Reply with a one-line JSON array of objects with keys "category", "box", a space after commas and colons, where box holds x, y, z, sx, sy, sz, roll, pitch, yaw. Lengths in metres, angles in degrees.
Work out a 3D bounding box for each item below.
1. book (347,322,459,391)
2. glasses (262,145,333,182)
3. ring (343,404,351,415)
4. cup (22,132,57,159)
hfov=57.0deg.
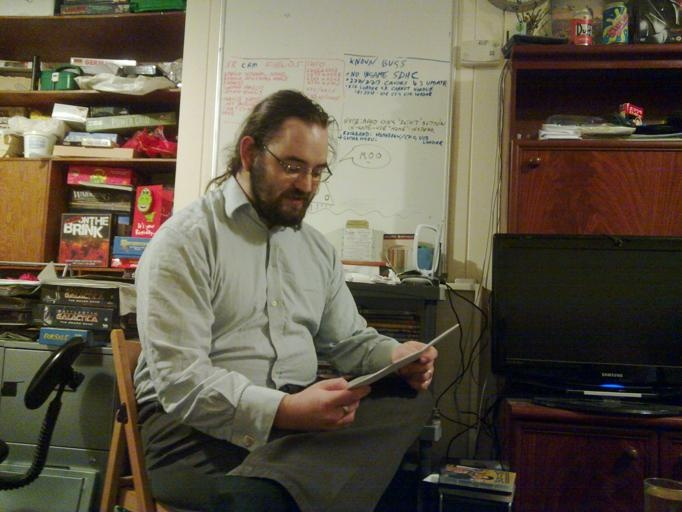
[{"category": "book", "box": [0.231, 0.356, 2.006, 0.392, 0.081, 0.200, -23, -11, -20]}, {"category": "glasses", "box": [-0.156, -0.336, 2.211, 0.230, 0.070, 0.232, 10, -15, 14]}, {"category": "ring", "box": [0.017, 0.476, 1.957, 0.023, 0.024, 0.024, -2, 14, 0]}, {"category": "cup", "box": [-1.631, -0.601, 3.420, 0.159, 0.118, 0.153, 0, 7, 0]}]
